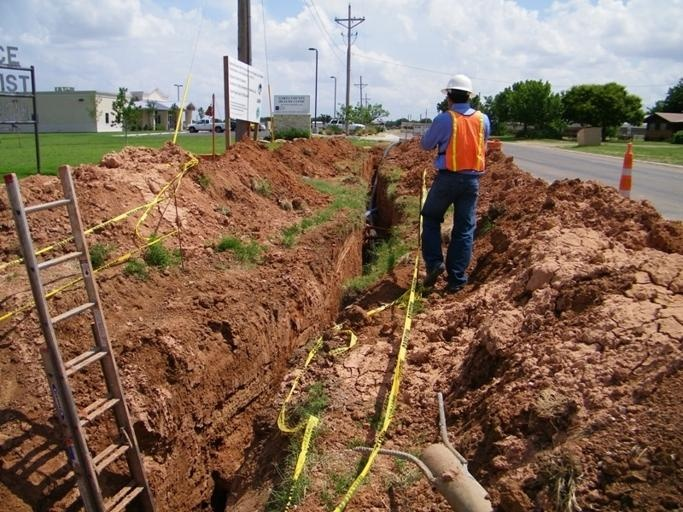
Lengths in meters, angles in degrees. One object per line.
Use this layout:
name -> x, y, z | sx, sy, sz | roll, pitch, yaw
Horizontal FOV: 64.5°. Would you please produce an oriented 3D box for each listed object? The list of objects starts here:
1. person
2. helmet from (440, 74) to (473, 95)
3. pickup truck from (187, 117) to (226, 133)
person -> 1.421, -0.923, 7.014 | 0.764, 2.706, 0.824 | 8, 14, 14
helmet -> 1.502, -2.178, 6.916 | 0.348, 0.222, 0.282 | 7, 14, 5
pickup truck -> -10.487, -9.998, 41.343 | 2.355, 1.152, 11.140 | 2, 15, -17
